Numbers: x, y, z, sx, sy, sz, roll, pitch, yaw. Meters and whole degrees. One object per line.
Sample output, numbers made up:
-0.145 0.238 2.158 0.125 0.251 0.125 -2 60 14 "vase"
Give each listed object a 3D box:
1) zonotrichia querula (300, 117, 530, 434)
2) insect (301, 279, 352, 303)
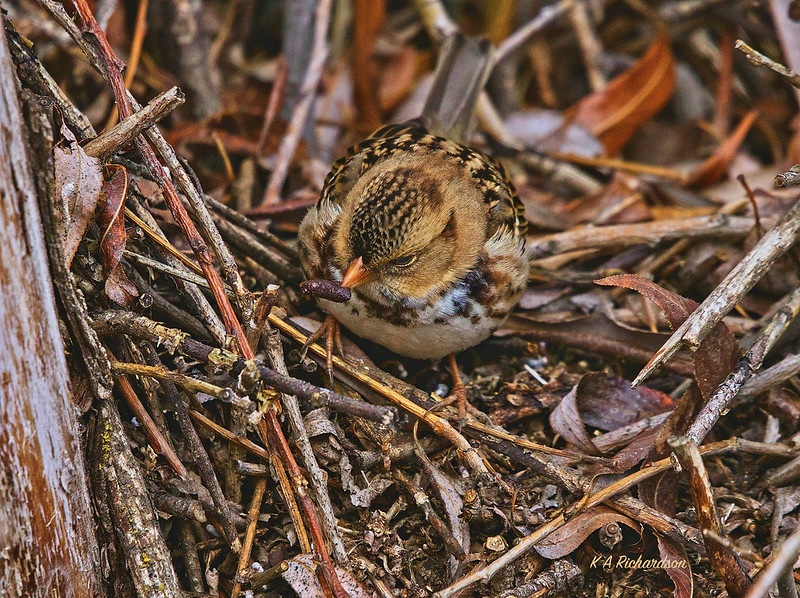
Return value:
0.124 -0.162 3.702 0.861 0.990 1.272 11 60 4 "zonotrichia querula"
-0.291 -0.024 3.207 0.186 0.056 0.080 22 8 -25 "insect"
